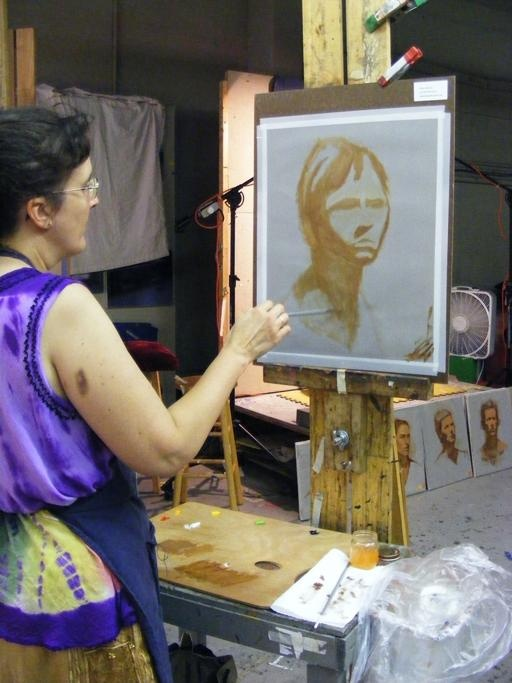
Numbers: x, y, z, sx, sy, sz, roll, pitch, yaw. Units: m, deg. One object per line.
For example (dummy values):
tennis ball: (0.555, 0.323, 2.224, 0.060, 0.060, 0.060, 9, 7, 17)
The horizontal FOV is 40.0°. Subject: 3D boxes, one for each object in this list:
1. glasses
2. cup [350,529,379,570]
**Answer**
glasses: (-0.265, -0.205, 0.962, 0.076, 0.026, 0.070, -18, 16, -12)
cup: (0.226, 0.437, 1.469, 0.064, 0.065, 0.066, 0, -10, 0)
